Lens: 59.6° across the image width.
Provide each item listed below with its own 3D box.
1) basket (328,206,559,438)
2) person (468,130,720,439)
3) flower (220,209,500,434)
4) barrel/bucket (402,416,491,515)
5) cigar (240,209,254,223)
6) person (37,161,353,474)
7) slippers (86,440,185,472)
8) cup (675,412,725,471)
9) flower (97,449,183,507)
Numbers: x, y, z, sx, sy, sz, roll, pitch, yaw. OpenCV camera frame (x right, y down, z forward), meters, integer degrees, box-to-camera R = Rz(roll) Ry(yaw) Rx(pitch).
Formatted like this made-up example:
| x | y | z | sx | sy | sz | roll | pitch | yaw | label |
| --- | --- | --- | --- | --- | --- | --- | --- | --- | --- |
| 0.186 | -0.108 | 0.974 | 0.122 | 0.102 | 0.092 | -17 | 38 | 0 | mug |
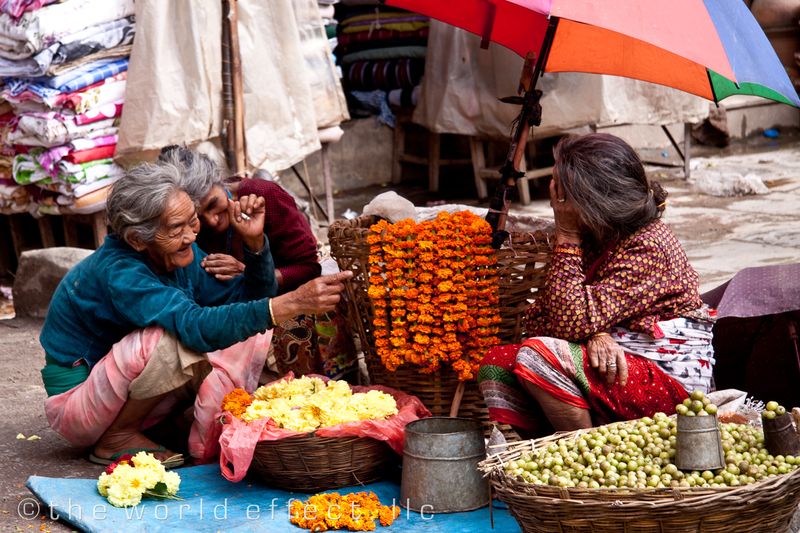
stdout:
| x | y | z | sx | sy | sz | roll | pitch | yaw | label |
| --- | --- | --- | --- | --- | --- | --- | --- | --- | --- |
| 0.250 | 0.267 | 3.999 | 1.232 | 0.903 | 1.208 | -3 | 3 | -43 | basket |
| 1.024 | 0.068 | 3.392 | 1.031 | 1.410 | 0.379 | -4 | 9 | -8 | person |
| -0.114 | 0.232 | 3.737 | 1.052 | 1.174 | 0.982 | -2 | 8 | 9 | flower |
| 0.258 | 0.924 | 3.266 | 0.416 | 0.303 | 0.421 | -2 | 3 | 0 | barrel/bucket |
| -0.826 | -0.270 | 3.713 | 0.044 | 0.044 | 0.053 | 1 | -5 | -4 | cigar |
| -1.173 | 0.246 | 3.634 | 1.423 | 1.557 | 0.558 | -3 | 9 | -1 | person |
| -1.354 | 0.936 | 3.568 | 0.481 | 0.118 | 0.177 | -2 | -1 | -3 | slippers |
| 1.167 | 0.681 | 2.788 | 0.231 | 0.224 | 0.219 | -2 | -5 | 0 | cup |
| -1.267 | 0.977 | 3.272 | 0.304 | 0.172 | 0.282 | -8 | 32 | -44 | flower |
